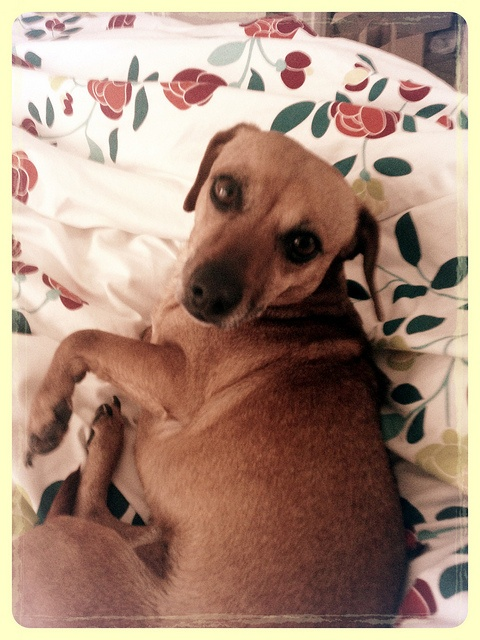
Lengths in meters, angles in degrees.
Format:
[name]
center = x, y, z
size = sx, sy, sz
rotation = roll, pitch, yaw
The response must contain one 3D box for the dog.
[dog]
center = 0.043, 0.167, 1.370
size = 0.754, 0.391, 0.838
rotation = 16, 88, 12
